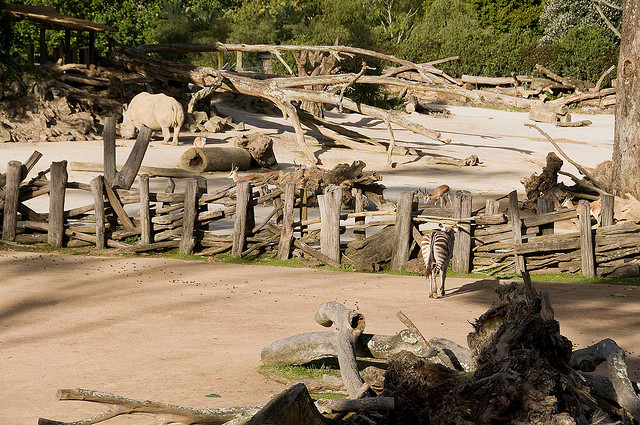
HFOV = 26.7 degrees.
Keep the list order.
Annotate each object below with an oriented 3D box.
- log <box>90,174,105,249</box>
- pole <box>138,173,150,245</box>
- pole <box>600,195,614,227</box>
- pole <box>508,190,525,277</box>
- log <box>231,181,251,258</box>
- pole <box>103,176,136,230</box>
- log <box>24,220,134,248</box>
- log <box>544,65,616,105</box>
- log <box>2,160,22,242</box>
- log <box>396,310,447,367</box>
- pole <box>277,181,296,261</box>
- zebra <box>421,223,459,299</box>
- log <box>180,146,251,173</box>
[{"bbox_3d":[-9.501,0.008,58.030,0.533,3.133,0.263,-1,2,-10],"label":"log"},{"bbox_3d":[-7.468,-0.047,57.895,0.400,2.859,0.490,-1,2,-9],"label":"pole"},{"bbox_3d":[12.250,-0.089,57.241,0.521,1.304,0.398,-1,2,7],"label":"pole"},{"bbox_3d":[8.407,0.917,57.143,0.629,3.700,0.585,-2,-2,-5],"label":"pole"},{"bbox_3d":[-3.340,0.304,57.772,0.835,3.279,0.384,-1,2,-4],"label":"log"},{"bbox_3d":[-8.722,-0.431,58.554,0.454,2.672,0.370,-35,-1,-5],"label":"pole"},{"bbox_3d":[-10.276,0.965,58.277,3.295,0.392,0.411,14,-4,-2],"label":"log"},{"bbox_3d":[17.672,-8.523,91.156,5.835,1.974,1.681,-8,8,39],"label":"log"},{"bbox_3d":[-13.255,-0.467,58.234,0.927,3.491,0.372,-1,2,-3],"label":"log"},{"bbox_3d":[3.760,4.771,51.509,0.845,3.104,0.229,1,50,38],"label":"log"},{"bbox_3d":[-1.398,0.424,57.838,0.750,3.309,0.437,-1,2,-3],"label":"pole"},{"bbox_3d":[5.015,2.082,55.868,1.055,2.822,3.265,-1,2,19],"label":"zebra"},{"bbox_3d":[-5.279,-2.669,68.398,3.536,1.277,1.173,-2,2,-41],"label":"log"}]
